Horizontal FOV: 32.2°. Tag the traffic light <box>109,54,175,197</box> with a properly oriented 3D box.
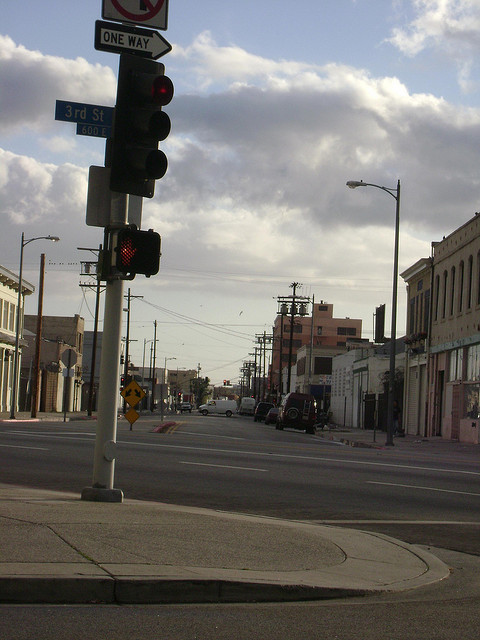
[{"bbox_3d":[-0.989,-1.990,8.299,0.523,1.395,0.678,6,-4,-12],"label":"traffic light"}]

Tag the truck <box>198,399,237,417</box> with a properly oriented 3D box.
[{"bbox_3d":[-2.271,9.603,90.748,3.424,1.607,1.886,3,-3,-2],"label":"truck"}]

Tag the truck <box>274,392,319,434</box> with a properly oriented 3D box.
[{"bbox_3d":[3.108,5.496,48.020,1.886,2.198,4.031,9,-10,-6],"label":"truck"}]

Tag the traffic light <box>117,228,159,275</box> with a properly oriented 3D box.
[{"bbox_3d":[-1.006,-0.634,8.149,0.465,0.516,0.176,4,-12,-10],"label":"traffic light"}]

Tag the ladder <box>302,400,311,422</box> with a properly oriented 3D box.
[{"bbox_3d":[3.651,5.109,46.037,0.324,1.023,0.133,5,-4,1],"label":"ladder"}]

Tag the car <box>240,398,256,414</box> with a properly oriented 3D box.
[{"bbox_3d":[0.880,9.671,92.925,1.327,1.722,1.690,5,-4,-5],"label":"car"}]
